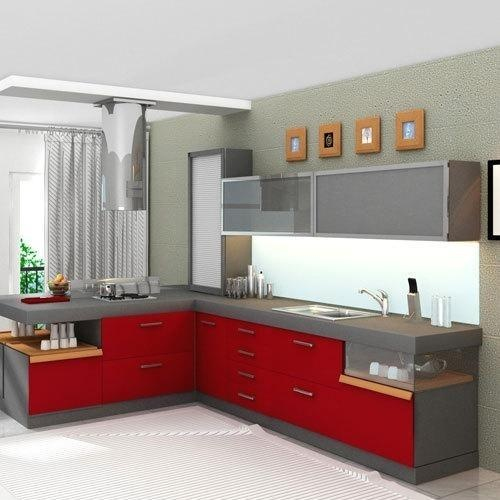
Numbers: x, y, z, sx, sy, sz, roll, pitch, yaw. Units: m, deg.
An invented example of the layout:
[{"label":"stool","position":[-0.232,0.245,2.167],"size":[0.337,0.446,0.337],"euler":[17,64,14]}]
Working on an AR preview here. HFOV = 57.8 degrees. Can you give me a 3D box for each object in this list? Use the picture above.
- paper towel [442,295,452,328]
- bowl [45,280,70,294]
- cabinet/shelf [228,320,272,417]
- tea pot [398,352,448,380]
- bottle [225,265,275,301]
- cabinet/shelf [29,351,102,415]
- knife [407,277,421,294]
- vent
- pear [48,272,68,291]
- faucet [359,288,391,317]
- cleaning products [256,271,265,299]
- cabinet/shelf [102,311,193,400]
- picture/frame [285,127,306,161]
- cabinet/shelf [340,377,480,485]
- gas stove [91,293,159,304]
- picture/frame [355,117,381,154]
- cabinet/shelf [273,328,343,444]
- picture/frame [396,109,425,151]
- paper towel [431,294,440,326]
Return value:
[{"label":"paper towel","position":[1.146,0.368,2.626],"size":[0.055,0.173,0.048],"euler":[1,-6,-8]},{"label":"bowl","position":[-1.749,0.358,4.141],"size":[0.170,0.126,0.161],"euler":[0,-6,0]},{"label":"cabinet/shelf","position":[0.086,0.897,3.641],"size":[0.377,0.694,0.504],"euler":[-1,2,-38]},{"label":"tea pot","position":[0.939,0.634,2.477],"size":[0.341,0.144,0.116],"euler":[6,-8,-42]},{"label":"bottle","position":[-0.003,0.322,4.212],"size":[0.388,0.295,0.276],"euler":[1,0,36]},{"label":"cabinet/shelf","position":[-1.417,1.042,3.489],"size":[0.643,0.469,0.349],"euler":[0,4,-34]},{"label":"knife","position":[1.043,0.238,2.905],"size":[0.052,0.103,0.109],"euler":[-2,-7,22]},{"label":"vent","position":[-1.141,-0.846,4.058],"size":[0.459,0.992,0.381],"euler":[3,-6,-22]},{"label":"pear","position":[-1.759,0.317,4.194],"size":[0.197,0.143,0.213],"euler":[0,0,-1]},{"label":"faucet","position":[0.901,0.373,3.285],"size":[0.134,0.199,0.321],"euler":[-1,5,-28]},{"label":"cleaning products","position":[0.094,0.344,4.190],"size":[0.078,0.234,0.148],"euler":[0,-6,1]},{"label":"cabinet/shelf","position":[-0.942,0.941,4.030],"size":[0.854,0.714,0.445],"euler":[1,-6,-31]},{"label":"picture/frame","position":[0.407,-0.932,4.014],"size":[0.026,0.374,0.323],"euler":[-1,2,-38]},{"label":"cabinet/shelf","position":[0.864,0.948,2.886],"size":[0.653,0.659,0.908],"euler":[8,-8,-33]},{"label":"gas stove","position":[-1.130,0.444,4.103],"size":[0.541,0.066,0.428],"euler":[2,-6,-18]},{"label":"picture/frame","position":[0.879,-0.846,3.353],"size":[0.023,0.336,0.292],"euler":[-3,4,-35]},{"label":"cabinet/shelf","position":[0.445,0.921,3.121],"size":[0.274,0.652,0.703],"euler":[3,-5,-38]},{"label":"picture/frame","position":[1.077,-0.799,3.035],"size":[0.023,0.345,0.295],"euler":[-2,4,-29]},{"label":"paper towel","position":[1.095,0.368,2.684],"size":[0.037,0.172,0.045],"euler":[1,-6,-7]}]
